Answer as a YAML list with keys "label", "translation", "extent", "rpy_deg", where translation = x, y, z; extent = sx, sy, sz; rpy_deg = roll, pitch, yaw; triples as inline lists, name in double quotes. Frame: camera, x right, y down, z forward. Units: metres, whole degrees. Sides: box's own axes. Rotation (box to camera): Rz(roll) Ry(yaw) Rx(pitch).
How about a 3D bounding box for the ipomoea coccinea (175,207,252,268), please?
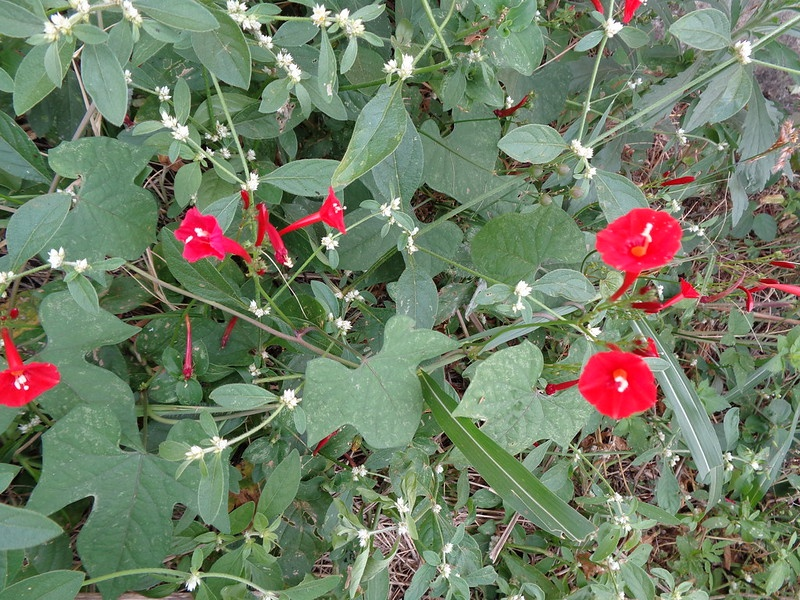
- label: "ipomoea coccinea"
  translation: [-0.679, -0.207, 2.332]
  extent: [0.113, 0.253, 0.155]
  rpy_deg: [-2, 68, 42]

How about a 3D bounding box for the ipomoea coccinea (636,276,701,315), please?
- label: "ipomoea coccinea"
  translation: [0.976, -0.001, 2.376]
  extent: [0.163, 0.287, 0.071]
  rpy_deg: [42, 115, 24]

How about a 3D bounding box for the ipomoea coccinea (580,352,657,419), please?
- label: "ipomoea coccinea"
  translation: [0.713, 0.277, 2.146]
  extent: [0.217, 0.098, 0.232]
  rpy_deg: [-21, 99, 21]

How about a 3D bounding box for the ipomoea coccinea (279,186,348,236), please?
- label: "ipomoea coccinea"
  translation: [-0.325, -0.316, 2.514]
  extent: [0.240, 0.155, 0.153]
  rpy_deg: [-22, 57, 19]
